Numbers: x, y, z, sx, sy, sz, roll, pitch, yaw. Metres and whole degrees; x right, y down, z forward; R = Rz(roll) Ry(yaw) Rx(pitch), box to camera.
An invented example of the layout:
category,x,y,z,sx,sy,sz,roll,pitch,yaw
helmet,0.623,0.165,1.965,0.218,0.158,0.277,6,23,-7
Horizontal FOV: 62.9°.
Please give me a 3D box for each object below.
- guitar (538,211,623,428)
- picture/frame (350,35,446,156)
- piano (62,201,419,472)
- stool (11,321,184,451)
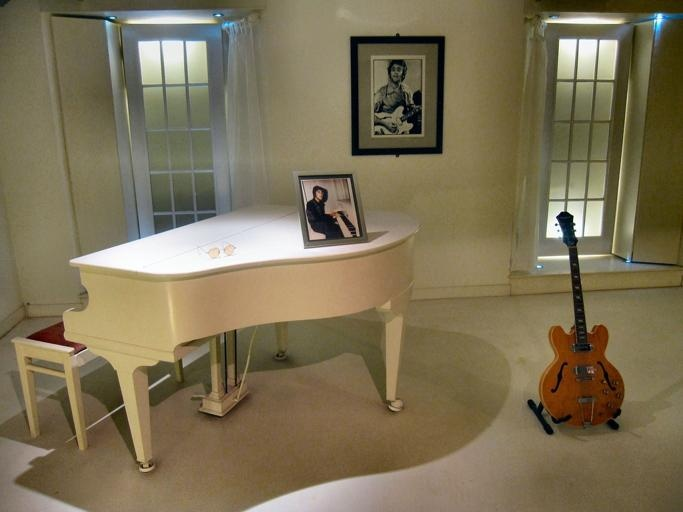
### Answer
category,x,y,z,sx,sy,sz,roll,pitch,yaw
guitar,1.394,0.440,3.172,0.426,1.053,0.396,7,18,29
picture/frame,0.434,-1.368,4.587,0.833,1.094,0.047,-1,12,-6
piano,-0.539,0.482,3.244,1.893,1.210,0.862,-10,18,-26
stool,-1.606,0.656,3.547,0.366,0.622,0.801,5,18,9
